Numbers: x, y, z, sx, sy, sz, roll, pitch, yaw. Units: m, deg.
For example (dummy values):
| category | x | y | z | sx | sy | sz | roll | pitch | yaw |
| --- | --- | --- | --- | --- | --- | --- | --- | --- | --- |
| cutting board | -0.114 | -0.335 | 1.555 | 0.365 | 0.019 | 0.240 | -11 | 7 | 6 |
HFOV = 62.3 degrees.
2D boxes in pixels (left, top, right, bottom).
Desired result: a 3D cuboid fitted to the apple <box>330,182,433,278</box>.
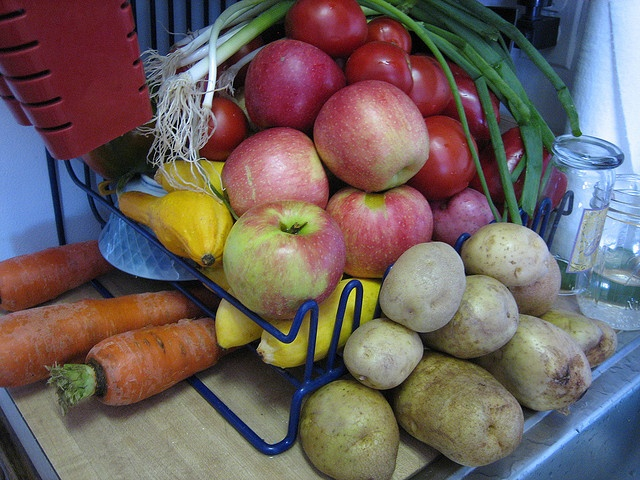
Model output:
| category | x | y | z | sx | sy | sz | roll | pitch | yaw |
| --- | --- | --- | --- | --- | --- | --- | --- | --- | --- |
| apple | 0.073 | -0.027 | 0.635 | 0.101 | 0.087 | 0.104 | 2 | 11 | 17 |

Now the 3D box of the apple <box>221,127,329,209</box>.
| category | x | y | z | sx | sy | sz | roll | pitch | yaw |
| --- | --- | --- | --- | --- | --- | --- | --- | --- | --- |
| apple | -0.054 | -0.080 | 0.693 | 0.103 | 0.103 | 0.102 | -31 | 58 | -5 |

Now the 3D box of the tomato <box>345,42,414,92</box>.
| category | x | y | z | sx | sy | sz | roll | pitch | yaw |
| --- | --- | --- | --- | --- | --- | --- | --- | --- | --- |
| tomato | 0.075 | -0.220 | 0.666 | 0.062 | 0.069 | 0.069 | 5 | 57 | 21 |

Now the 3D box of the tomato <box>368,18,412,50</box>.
| category | x | y | z | sx | sy | sz | roll | pitch | yaw |
| --- | --- | --- | --- | --- | --- | --- | --- | --- | --- |
| tomato | 0.096 | -0.285 | 0.728 | 0.047 | 0.054 | 0.057 | -12 | 18 | -25 |

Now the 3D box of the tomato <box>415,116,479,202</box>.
| category | x | y | z | sx | sy | sz | roll | pitch | yaw |
| --- | --- | --- | --- | --- | --- | --- | --- | --- | --- |
| tomato | 0.188 | -0.110 | 0.719 | 0.083 | 0.094 | 0.098 | 16 | 64 | -19 |

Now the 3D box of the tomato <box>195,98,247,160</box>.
| category | x | y | z | sx | sy | sz | roll | pitch | yaw |
| --- | --- | --- | --- | --- | --- | --- | --- | --- | --- |
| tomato | -0.124 | -0.145 | 0.699 | 0.070 | 0.093 | 0.073 | 1 | 3 | -25 |

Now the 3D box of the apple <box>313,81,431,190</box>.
| category | x | y | z | sx | sy | sz | roll | pitch | yaw |
| --- | --- | --- | --- | --- | --- | --- | --- | --- | --- |
| apple | 0.072 | -0.120 | 0.653 | 0.103 | 0.137 | 0.104 | -15 | 17 | -38 |

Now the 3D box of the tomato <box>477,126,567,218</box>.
| category | x | y | z | sx | sy | sz | roll | pitch | yaw |
| --- | --- | --- | --- | --- | --- | --- | --- | --- | --- |
| tomato | 0.289 | -0.107 | 0.763 | 0.102 | 0.151 | 0.078 | -9 | 3 | 17 |

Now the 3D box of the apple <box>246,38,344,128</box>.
| category | x | y | z | sx | sy | sz | roll | pitch | yaw |
| --- | --- | --- | --- | --- | --- | --- | --- | --- | --- |
| apple | -0.045 | -0.194 | 0.719 | 0.100 | 0.120 | 0.125 | 21 | 19 | 29 |

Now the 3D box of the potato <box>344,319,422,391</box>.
| category | x | y | z | sx | sy | sz | roll | pitch | yaw |
| --- | --- | --- | --- | --- | --- | --- | --- | --- | --- |
| potato | 0.071 | 0.126 | 0.584 | 0.080 | 0.064 | 0.064 | -28 | 5 | -43 |

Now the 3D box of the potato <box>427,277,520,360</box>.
| category | x | y | z | sx | sy | sz | roll | pitch | yaw |
| --- | --- | --- | --- | --- | --- | --- | --- | --- | --- |
| potato | 0.182 | 0.094 | 0.655 | 0.095 | 0.077 | 0.076 | -26 | -22 | 33 |

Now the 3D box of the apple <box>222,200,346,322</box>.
| category | x | y | z | sx | sy | sz | roll | pitch | yaw |
| --- | --- | --- | --- | --- | --- | --- | --- | --- | --- |
| apple | -0.039 | -0.004 | 0.611 | 0.114 | 0.133 | 0.122 | 7 | 25 | -4 |

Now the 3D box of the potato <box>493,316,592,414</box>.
| category | x | y | z | sx | sy | sz | roll | pitch | yaw |
| --- | --- | --- | --- | --- | --- | --- | --- | --- | --- |
| potato | 0.267 | 0.147 | 0.668 | 0.079 | 0.092 | 0.113 | -21 | 21 | -3 |

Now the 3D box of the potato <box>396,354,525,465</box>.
| category | x | y | z | sx | sy | sz | roll | pitch | yaw |
| --- | --- | --- | --- | --- | --- | --- | --- | --- | --- |
| potato | 0.165 | 0.217 | 0.626 | 0.096 | 0.072 | 0.132 | -35 | 36 | -10 |

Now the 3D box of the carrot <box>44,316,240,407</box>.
| category | x | y | z | sx | sy | sz | roll | pitch | yaw |
| --- | --- | --- | --- | --- | --- | --- | --- | --- | --- |
| carrot | -0.213 | 0.111 | 0.704 | 0.256 | 0.087 | 0.084 | -15 | 21 | -42 |
